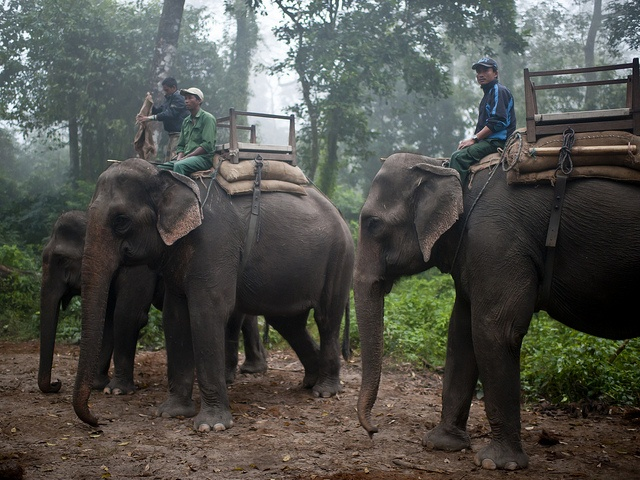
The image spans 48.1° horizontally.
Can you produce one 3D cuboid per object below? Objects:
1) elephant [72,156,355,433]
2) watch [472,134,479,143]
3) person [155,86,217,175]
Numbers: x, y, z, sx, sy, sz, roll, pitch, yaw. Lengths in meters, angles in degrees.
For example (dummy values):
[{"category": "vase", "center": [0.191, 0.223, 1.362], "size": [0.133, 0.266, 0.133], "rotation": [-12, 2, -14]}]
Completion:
[{"category": "elephant", "center": [-1.358, 0.663, 8.720], "size": [3.446, 2.838, 1.829], "rotation": [7, -10, -33]}, {"category": "watch", "center": [1.515, -0.997, 6.997], "size": [0.057, 0.080, 0.087], "rotation": [-3, 33, -3]}, {"category": "person", "center": [-1.526, -1.157, 8.232], "size": [0.684, 1.205, 0.612], "rotation": [0, 1, -28]}]
